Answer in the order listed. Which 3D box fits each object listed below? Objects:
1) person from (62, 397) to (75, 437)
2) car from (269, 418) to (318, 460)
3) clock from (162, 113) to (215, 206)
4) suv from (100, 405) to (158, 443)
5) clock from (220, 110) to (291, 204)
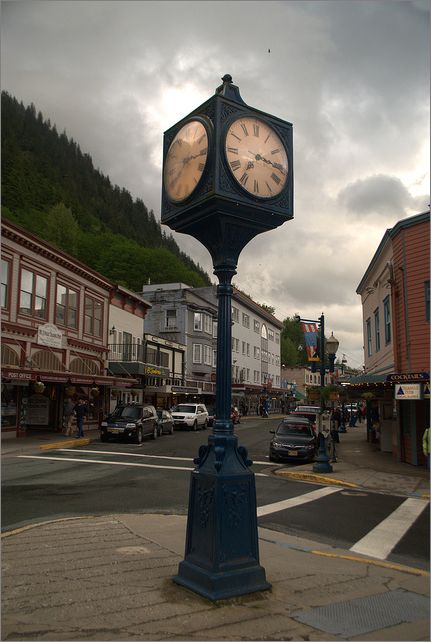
[{"bbox_3d":[-6.278,4.196,24.422,0.402,1.444,2.537,3,-9,-13],"label":"person"},{"bbox_3d":[2.463,3.683,17.545,1.523,1.280,3.466,-2,-12,8],"label":"car"},{"bbox_3d":[-0.255,-1.523,5.430,0.067,0.792,0.776,24,43,24],"label":"clock"},{"bbox_3d":[-3.407,4.198,23.301,1.545,1.551,2.784,-2,-9,16],"label":"suv"},{"bbox_3d":[0.412,-1.514,5.242,0.769,0.754,0.085,8,-11,-39],"label":"clock"}]
